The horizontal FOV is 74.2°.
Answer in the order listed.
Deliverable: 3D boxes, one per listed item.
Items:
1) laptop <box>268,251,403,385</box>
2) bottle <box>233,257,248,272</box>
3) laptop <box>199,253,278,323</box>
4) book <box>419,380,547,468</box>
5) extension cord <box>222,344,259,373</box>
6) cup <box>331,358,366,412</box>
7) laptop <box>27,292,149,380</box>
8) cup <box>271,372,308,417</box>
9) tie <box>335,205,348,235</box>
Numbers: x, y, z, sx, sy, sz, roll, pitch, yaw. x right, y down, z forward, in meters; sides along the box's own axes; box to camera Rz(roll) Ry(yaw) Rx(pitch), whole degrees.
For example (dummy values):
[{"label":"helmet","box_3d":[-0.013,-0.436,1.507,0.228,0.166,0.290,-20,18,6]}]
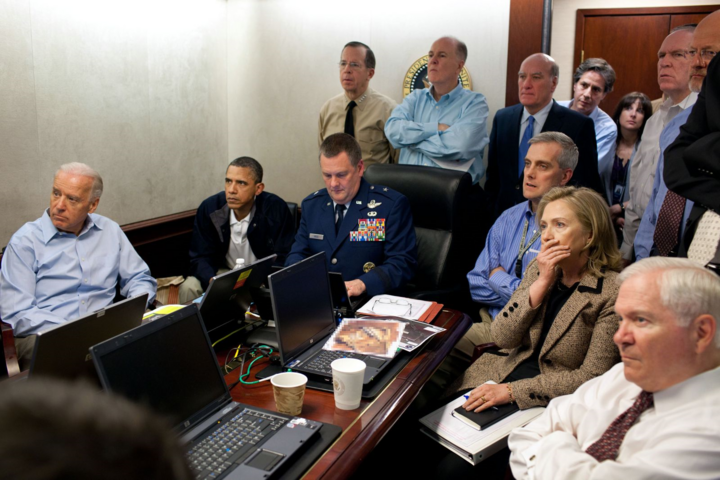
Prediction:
[{"label":"laptop","box_3d":[-0.090,0.318,2.004,0.430,0.412,0.537,5,13,19]},{"label":"bottle","box_3d":[-0.659,0.137,2.649,0.063,0.103,0.097,7,-12,-44]},{"label":"laptop","box_3d":[-0.540,0.232,2.093,0.243,0.267,0.367,-29,-9,18]},{"label":"book","box_3d":[0.473,0.709,1.845,0.344,0.085,0.248,-23,27,-39]},{"label":"extension cord","box_3d":[-0.519,0.502,2.022,0.068,0.031,0.124,1,15,9]},{"label":"cup","box_3d":[-0.039,0.498,1.663,0.139,0.157,0.147,0,3,0]},{"label":"laptop","box_3d":[-1.000,0.350,1.730,0.260,0.236,0.368,33,21,14]},{"label":"cup","box_3d":[-0.247,0.524,1.669,0.130,0.109,0.135,1,7,0]},{"label":"tie","box_3d":[-0.116,-0.125,3.040,0.106,0.160,0.044,-4,-16,30]}]
